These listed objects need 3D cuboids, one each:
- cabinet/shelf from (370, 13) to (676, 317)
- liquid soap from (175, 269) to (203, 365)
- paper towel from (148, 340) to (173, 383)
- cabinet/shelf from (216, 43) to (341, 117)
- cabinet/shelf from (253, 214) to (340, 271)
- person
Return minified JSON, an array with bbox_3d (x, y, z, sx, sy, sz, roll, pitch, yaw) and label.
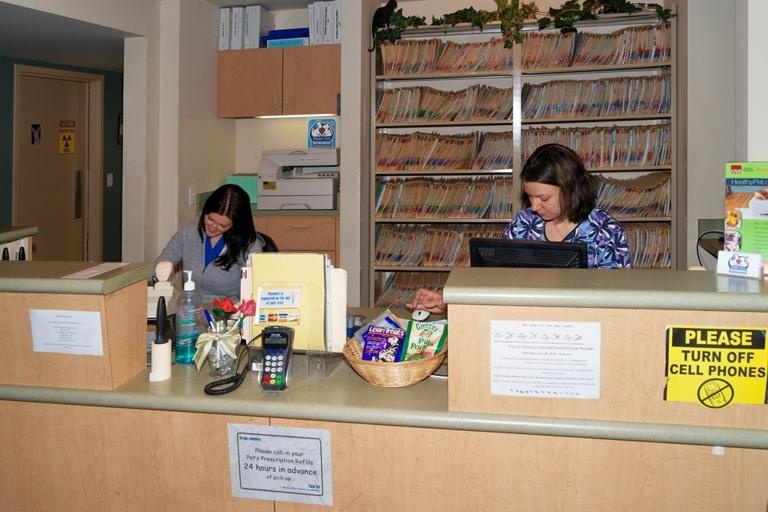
[{"bbox_3d":[1.009,-1.090,5.400,1.704,0.468,1.886,-1,43,3],"label":"cabinet/shelf"},{"bbox_3d":[-0.817,0.261,2.895,0.109,0.377,0.268,-1,6,-17],"label":"liquid soap"},{"bbox_3d":[-0.886,0.419,2.742,0.086,0.156,0.056,-1,6,-20],"label":"paper towel"},{"bbox_3d":[-0.866,-1.498,6.127,1.199,0.598,0.367,-1,-1,3],"label":"cabinet/shelf"},{"bbox_3d":[-0.694,-0.210,5.700,0.702,0.655,0.412,1,1,9],"label":"cabinet/shelf"},{"bbox_3d":[-0.990,0.091,3.953,0.691,0.960,0.442,9,25,-9],"label":"person"}]
